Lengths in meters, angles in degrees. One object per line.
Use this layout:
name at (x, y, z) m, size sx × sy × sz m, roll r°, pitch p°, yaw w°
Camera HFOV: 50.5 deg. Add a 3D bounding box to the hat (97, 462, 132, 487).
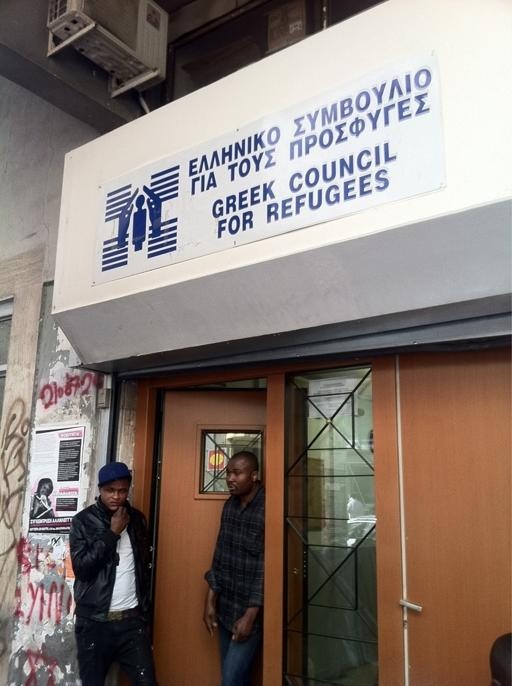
hat at (-0.749, 0.690, 2.883) m, size 0.141 × 0.139 × 0.108 m, roll -27°, pitch -22°, yaw 28°
